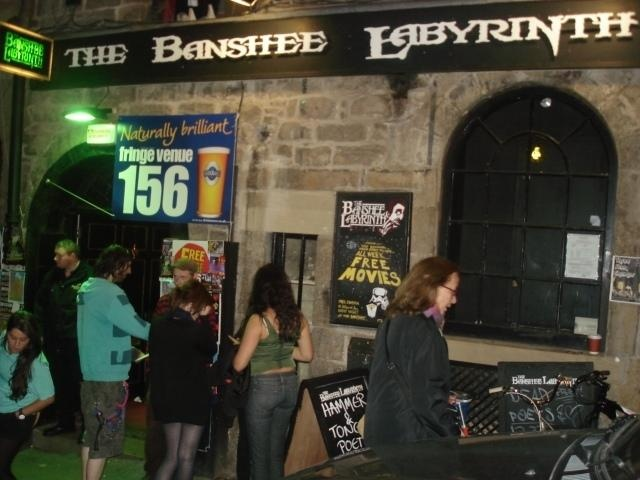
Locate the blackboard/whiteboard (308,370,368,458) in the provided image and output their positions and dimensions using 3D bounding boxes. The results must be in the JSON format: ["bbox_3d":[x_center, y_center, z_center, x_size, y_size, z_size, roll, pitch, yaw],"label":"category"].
[{"bbox_3d":[0.154,1.685,5.993,0.633,0.660,0.228,-6,-13,-42],"label":"blackboard/whiteboard"}]

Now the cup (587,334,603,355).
[{"bbox_3d":[2.685,1.027,6.204,0.105,0.191,0.113,4,-2,0],"label":"cup"}]

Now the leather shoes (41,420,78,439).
[{"bbox_3d":[-3.084,2.266,7.496,0.426,0.192,0.149,10,1,-17],"label":"leather shoes"}]

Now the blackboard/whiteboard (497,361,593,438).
[{"bbox_3d":[2.018,1.439,5.633,0.594,0.629,0.072,2,-17,-1],"label":"blackboard/whiteboard"}]

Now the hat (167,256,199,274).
[{"bbox_3d":[-1.496,0.283,6.979,0.213,0.205,0.175,13,-36,-10],"label":"hat"}]

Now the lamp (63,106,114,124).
[{"bbox_3d":[-2.895,-1.563,7.773,0.630,0.175,0.342,3,-2,25],"label":"lamp"}]

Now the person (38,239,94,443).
[{"bbox_3d":[-3.111,1.148,7.700,0.769,2.207,0.653,1,10,-24],"label":"person"}]
